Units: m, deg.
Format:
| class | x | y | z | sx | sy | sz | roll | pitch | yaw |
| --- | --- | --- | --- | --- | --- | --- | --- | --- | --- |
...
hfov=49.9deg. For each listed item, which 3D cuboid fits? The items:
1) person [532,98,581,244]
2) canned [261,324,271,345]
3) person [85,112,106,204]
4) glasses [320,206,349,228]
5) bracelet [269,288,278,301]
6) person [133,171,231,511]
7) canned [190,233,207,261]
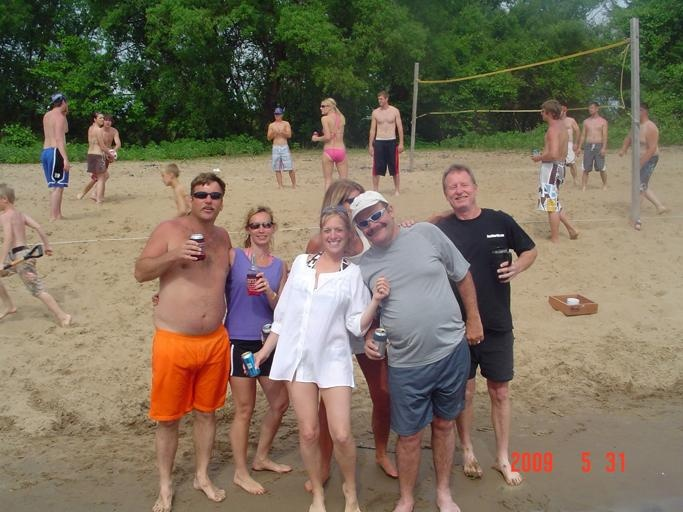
| class | x | y | z | sx | sy | sz | roll | pitch | yaw |
| --- | --- | --- | --- | --- | --- | --- | --- | --- | --- |
| person | 3.552 | -1.429 | 12.191 | 0.697 | 2.264 | 1.391 | 2 | 13 | 16 |
| canned | -0.745 | 0.775 | 7.234 | 0.139 | 0.146 | 0.157 | -1 | 11 | -11 |
| person | -4.595 | -1.826 | 13.847 | 0.381 | 1.647 | 0.568 | -6 | 13 | -18 |
| glasses | -0.065 | -0.369 | 6.927 | 0.231 | 0.156 | 0.174 | 0 | 5 | -6 |
| bracelet | -0.679 | 0.388 | 7.327 | 0.074 | 0.093 | 0.050 | -5 | 28 | 0 |
| person | -1.488 | 0.865 | 7.180 | 1.014 | 3.262 | 0.631 | -8 | 14 | -25 |
| canned | -1.353 | -0.080 | 6.944 | 0.137 | 0.246 | 0.110 | -6 | 13 | -18 |
